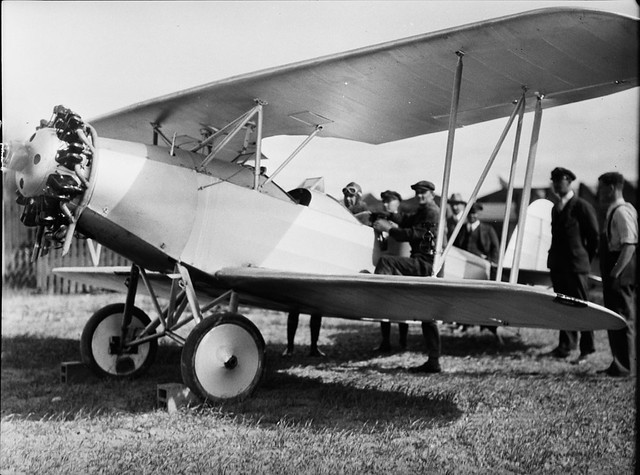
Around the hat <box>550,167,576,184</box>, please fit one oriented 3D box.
[{"bbox_3d":[3.157,-0.809,11.573,0.244,0.099,0.199,6,-4,-3],"label":"hat"}]

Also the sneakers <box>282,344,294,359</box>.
[{"bbox_3d":[-0.464,1.556,12.097,0.084,0.172,0.246,1,-34,10],"label":"sneakers"}]

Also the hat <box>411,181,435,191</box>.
[{"bbox_3d":[1.293,-0.668,11.111,0.191,0.066,0.137,5,-5,-16],"label":"hat"}]

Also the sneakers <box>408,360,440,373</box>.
[{"bbox_3d":[1.282,1.636,11.359,0.459,0.202,0.158,0,-2,22],"label":"sneakers"}]
